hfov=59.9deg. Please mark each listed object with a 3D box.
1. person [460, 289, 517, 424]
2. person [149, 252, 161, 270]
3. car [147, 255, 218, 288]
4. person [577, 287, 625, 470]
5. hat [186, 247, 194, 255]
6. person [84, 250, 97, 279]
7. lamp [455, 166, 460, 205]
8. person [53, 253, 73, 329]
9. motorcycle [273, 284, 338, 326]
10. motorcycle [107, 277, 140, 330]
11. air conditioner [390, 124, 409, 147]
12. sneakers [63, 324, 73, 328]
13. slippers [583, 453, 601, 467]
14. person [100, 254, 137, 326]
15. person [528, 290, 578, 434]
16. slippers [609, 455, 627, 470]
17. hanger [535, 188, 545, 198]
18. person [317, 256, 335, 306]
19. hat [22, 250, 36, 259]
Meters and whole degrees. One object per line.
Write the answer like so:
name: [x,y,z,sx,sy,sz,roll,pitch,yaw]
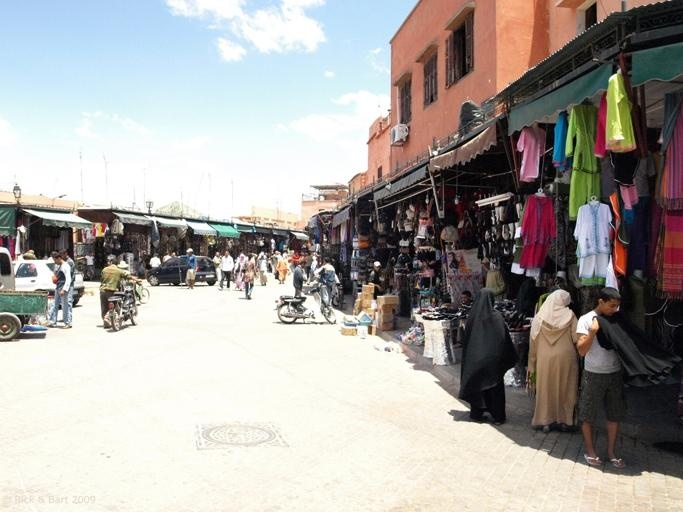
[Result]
person: [2.090,1.418,8.434,0.746,1.865,0.443,2,3,16]
person: [-10.254,0.300,32.548,0.747,0.787,0.442,2,20,-2]
car: [-8.067,0.859,30.293,2.531,1.308,1.645,2,-1,-7]
person: [3.039,1.399,6.936,0.559,2.054,0.369,3,3,25]
hat: [-8.892,-0.247,34.658,0.477,0.271,0.359,25,10,38]
person: [-13.695,0.588,32.202,0.459,1.374,0.925,0,3,-15]
lamp: [2.601,-1.468,13.201,0.150,0.645,0.680,2,3,11]
person: [-7.155,0.866,15.204,0.492,1.829,1.020,0,4,-24]
motorcycle: [-0.947,1.433,17.487,2.026,1.466,1.034,0,-1,-13]
motorcycle: [-5.501,1.298,14.849,0.566,0.743,1.119,0,8,5]
air conditioner: [2.259,-4.650,22.696,0.500,0.700,0.839,1,3,-9]
sneakers: [-6.865,1.776,14.880,0.168,0.074,0.305,0,4,-25]
slippers: [2.948,2.379,6.944,0.187,0.100,0.269,3,4,20]
person: [-5.635,0.917,14.787,0.748,1.843,1.129,0,3,-17]
person: [2.777,1.333,7.752,0.610,1.764,0.374,2,3,21]
slippers: [3.183,2.384,6.823,0.170,0.104,0.163,3,4,25]
hanger: [3.010,-0.979,8.988,0.172,0.191,0.152,1,-6,-2]
person: [-0.414,0.743,17.877,0.545,0.776,1.234,2,34,-1]
hat: [-10.738,-0.049,20.353,0.322,0.345,0.487,2,-6,-7]
